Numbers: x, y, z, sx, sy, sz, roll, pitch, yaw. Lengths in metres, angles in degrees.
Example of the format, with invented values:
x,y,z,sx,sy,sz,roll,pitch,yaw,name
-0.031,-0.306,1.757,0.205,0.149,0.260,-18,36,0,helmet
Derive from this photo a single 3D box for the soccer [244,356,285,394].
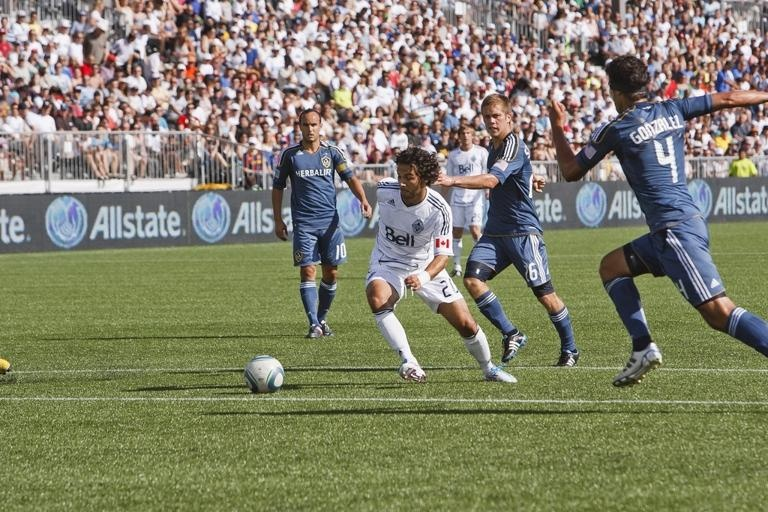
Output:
x,y,z,sx,sy,sz,roll,pitch,yaw,name
-1.279,1.252,14.429,0.398,0.399,0.396,0,34,-37,soccer

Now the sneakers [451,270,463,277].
x,y,z,sx,sy,sz,roll,pitch,yaw,name
1.179,0.278,21.449,0.217,0.099,0.074,2,8,34,sneakers

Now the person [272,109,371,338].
x,y,z,sx,sy,sz,roll,pitch,yaw,name
-0.880,-0.485,17.101,1.139,2.839,1.418,3,14,17,person

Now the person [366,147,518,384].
x,y,z,sx,sy,sz,roll,pitch,yaw,name
0.489,0.075,14.648,1.480,2.595,1.139,2,14,14,person

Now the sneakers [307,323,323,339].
x,y,z,sx,sy,sz,roll,pitch,yaw,name
-0.866,0.947,16.625,0.160,0.184,0.402,0,-5,-1,sneakers

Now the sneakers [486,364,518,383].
x,y,z,sx,sy,sz,roll,pitch,yaw,name
1.290,1.318,14.648,0.419,0.191,0.157,5,15,18,sneakers

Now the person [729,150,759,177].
x,y,z,sx,sy,sz,roll,pitch,yaw,name
9.124,-2.312,33.129,0.669,0.816,0.418,-4,-12,19,person

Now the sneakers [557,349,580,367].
x,y,z,sx,sy,sz,roll,pitch,yaw,name
2.127,1.177,15.099,0.113,0.139,0.324,-1,-1,29,sneakers
